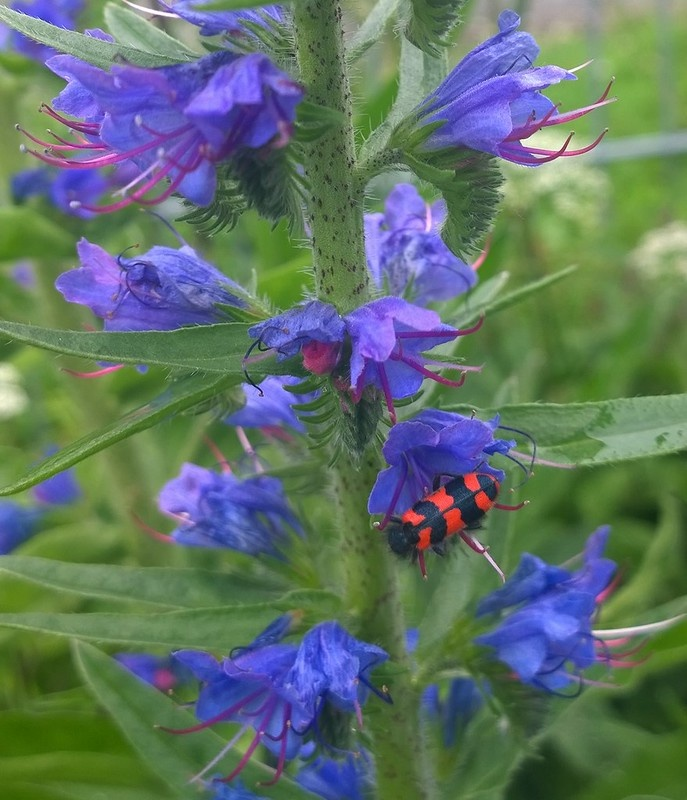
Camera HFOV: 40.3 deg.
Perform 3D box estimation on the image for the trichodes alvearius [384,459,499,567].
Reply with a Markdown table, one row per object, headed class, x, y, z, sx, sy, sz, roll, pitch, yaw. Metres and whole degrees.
| class | x | y | z | sx | sy | sz | roll | pitch | yaw |
| --- | --- | --- | --- | --- | --- | --- | --- | --- | --- |
| trichodes alvearius | 0.095 | 0.111 | 0.896 | 0.121 | 0.034 | 0.071 | -28 | 80 | 17 |
